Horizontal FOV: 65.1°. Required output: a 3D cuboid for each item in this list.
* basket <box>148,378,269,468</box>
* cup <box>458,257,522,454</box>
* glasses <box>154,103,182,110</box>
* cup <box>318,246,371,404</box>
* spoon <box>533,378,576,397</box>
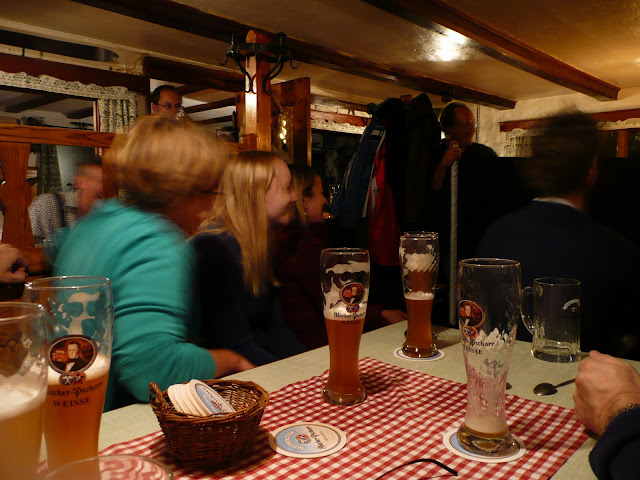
[{"bbox_3d":[-0.212,0.369,0.999,0.169,0.120,0.198,4,7,28],"label":"basket"},{"bbox_3d":[0.337,0.234,0.999,0.125,0.375,0.099,2,12,15],"label":"cup"},{"bbox_3d":[-0.719,-0.628,2.357,0.067,0.018,0.065,-2,1,43],"label":"glasses"},{"bbox_3d":[0.061,0.205,1.217,0.114,0.356,0.141,0,11,4],"label":"cup"},{"bbox_3d":[0.581,0.366,1.243,0.126,0.016,0.025,-13,51,-30],"label":"spoon"}]
